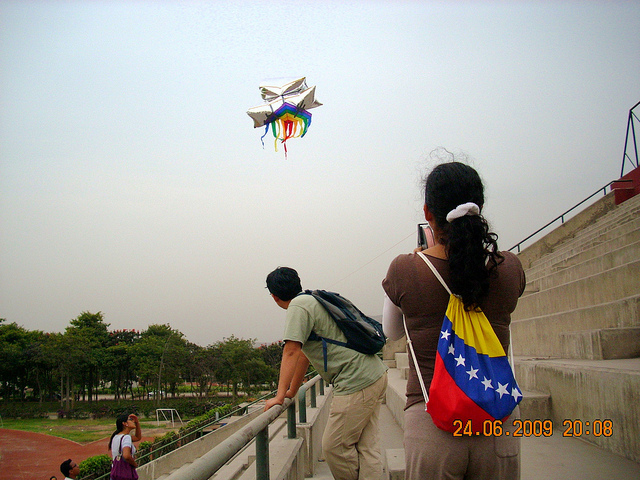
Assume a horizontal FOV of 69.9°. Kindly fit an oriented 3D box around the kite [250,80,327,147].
[{"bbox_3d":[-0.716,-2.672,9.653,1.332,1.422,0.538,-8,-21,15],"label":"kite"}]

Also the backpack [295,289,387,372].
[{"bbox_3d":[0.212,0.764,3.924,0.734,0.679,0.278,2,-21,-11],"label":"backpack"}]

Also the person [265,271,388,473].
[{"bbox_3d":[0.078,1.080,3.892,0.966,1.663,0.680,-4,-21,5],"label":"person"}]

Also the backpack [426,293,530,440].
[{"bbox_3d":[0.857,0.661,2.665,0.538,0.811,0.381,-1,-9,-9],"label":"backpack"}]
